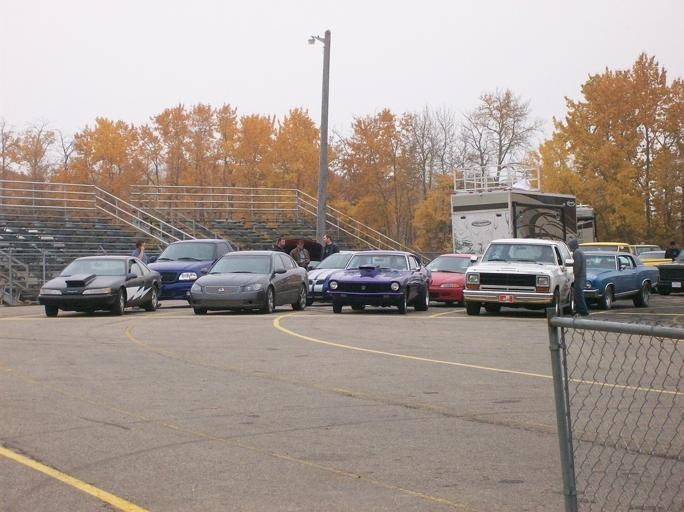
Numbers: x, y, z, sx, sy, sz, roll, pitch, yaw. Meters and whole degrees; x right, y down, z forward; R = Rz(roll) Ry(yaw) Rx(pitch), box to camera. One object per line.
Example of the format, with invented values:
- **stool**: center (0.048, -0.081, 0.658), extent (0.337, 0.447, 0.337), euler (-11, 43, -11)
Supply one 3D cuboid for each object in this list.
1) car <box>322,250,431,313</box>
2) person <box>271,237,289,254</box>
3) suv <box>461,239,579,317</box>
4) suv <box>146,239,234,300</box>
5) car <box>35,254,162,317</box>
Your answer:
- **car**: center (0.891, 0.698, 21.771), extent (2.000, 1.565, 2.318), euler (1, 4, 25)
- **person**: center (-2.213, -0.378, 29.760), extent (0.462, 0.730, 0.941), euler (-8, 1, 5)
- **suv**: center (4.309, 0.575, 20.516), extent (2.408, 1.860, 2.584), euler (1, 4, 17)
- **suv**: center (-4.348, 0.281, 24.771), extent (1.366, 1.150, 2.510), euler (-2, -2, 17)
- **car**: center (-6.016, 0.772, 21.139), extent (1.697, 1.477, 2.888), euler (1, 3, 15)
